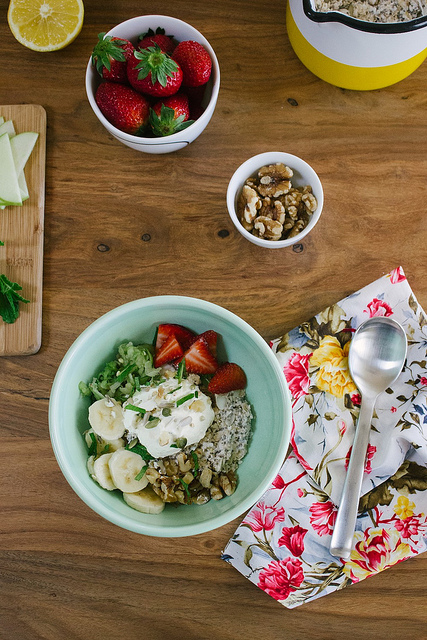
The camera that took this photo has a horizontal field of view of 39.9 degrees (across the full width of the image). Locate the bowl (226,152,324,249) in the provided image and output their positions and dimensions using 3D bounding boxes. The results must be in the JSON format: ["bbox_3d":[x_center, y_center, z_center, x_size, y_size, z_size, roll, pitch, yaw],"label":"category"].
[{"bbox_3d":[0.131,-0.205,1.055,0.074,0.157,0.148,9,101,-13],"label":"bowl"}]

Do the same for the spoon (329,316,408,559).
[{"bbox_3d":[0.236,0.169,0.917,0.109,0.061,0.456,4,41,21],"label":"spoon"}]

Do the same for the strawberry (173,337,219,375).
[{"bbox_3d":[-0.025,0.061,0.941,0.048,0.037,0.058,-22,68,-8],"label":"strawberry"}]

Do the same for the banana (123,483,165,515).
[{"bbox_3d":[-0.105,0.278,0.896,0.046,0.037,0.052,-34,70,-12],"label":"banana"}]

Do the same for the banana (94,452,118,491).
[{"bbox_3d":[-0.162,0.230,0.886,0.053,0.011,0.050,8,76,-7],"label":"banana"}]

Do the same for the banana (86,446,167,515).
[{"bbox_3d":[-0.132,0.238,0.887,0.125,0.030,0.076,44,73,3],"label":"banana"}]

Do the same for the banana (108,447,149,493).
[{"bbox_3d":[-0.121,0.222,0.867,0.063,0.015,0.059,23,64,-14],"label":"banana"}]

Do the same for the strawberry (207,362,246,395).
[{"bbox_3d":[0.020,0.093,0.926,0.057,0.041,0.041,-26,75,-5],"label":"strawberry"}]

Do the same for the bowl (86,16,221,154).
[{"bbox_3d":[-0.099,-0.366,1.017,0.231,0.218,0.224,0,98,-1],"label":"bowl"}]

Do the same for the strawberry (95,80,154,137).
[{"bbox_3d":[-0.144,-0.357,0.970,0.073,0.072,0.101,-39,52,-19],"label":"strawberry"}]

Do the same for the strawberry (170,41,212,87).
[{"bbox_3d":[-0.037,-0.397,0.942,0.060,0.044,0.069,11,91,-3],"label":"strawberry"}]
